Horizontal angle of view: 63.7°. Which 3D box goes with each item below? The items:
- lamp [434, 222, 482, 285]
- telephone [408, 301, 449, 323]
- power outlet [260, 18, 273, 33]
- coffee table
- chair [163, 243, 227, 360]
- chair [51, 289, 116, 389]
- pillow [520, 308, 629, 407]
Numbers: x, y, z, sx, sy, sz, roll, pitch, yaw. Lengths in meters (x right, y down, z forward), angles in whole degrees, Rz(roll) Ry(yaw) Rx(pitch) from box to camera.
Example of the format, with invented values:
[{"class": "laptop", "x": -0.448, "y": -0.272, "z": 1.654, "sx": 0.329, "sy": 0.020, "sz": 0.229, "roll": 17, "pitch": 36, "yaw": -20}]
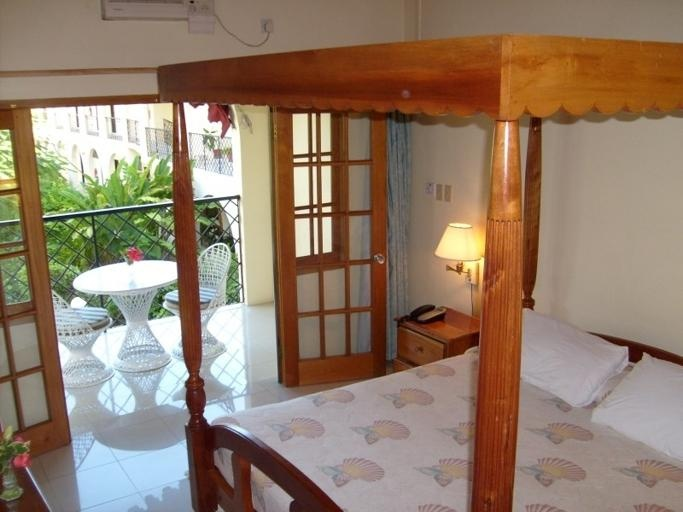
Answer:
[{"class": "lamp", "x": 0.944, "y": 0.012, "z": 4.462, "sx": 0.342, "sy": 0.538, "sz": 0.362, "roll": 1, "pitch": 20, "yaw": 7}, {"class": "telephone", "x": 0.736, "y": 0.486, "z": 4.624, "sx": 0.230, "sy": 0.082, "sz": 0.172, "roll": 0, "pitch": 6, "yaw": -30}, {"class": "power outlet", "x": -0.564, "y": -1.722, "z": 4.118, "sx": 0.094, "sy": 0.092, "sz": 0.023, "roll": -1, "pitch": 8, "yaw": -24}, {"class": "coffee table", "x": -1.972, "y": 0.590, "z": 5.288, "sx": 0.899, "sy": 0.792, "sz": 0.992, "roll": -2, "pitch": 11, "yaw": 5}, {"class": "chair", "x": -1.478, "y": 0.433, "z": 5.542, "sx": 0.702, "sy": 1.130, "sz": 0.726, "roll": 1, "pitch": 3, "yaw": -42}, {"class": "chair", "x": -2.284, "y": 0.680, "z": 4.877, "sx": 0.457, "sy": 0.916, "sz": 0.554, "roll": -11, "pitch": 15, "yaw": -28}, {"class": "pillow", "x": 1.371, "y": 0.639, "z": 3.370, "sx": 0.503, "sy": 0.144, "sz": 0.516, "roll": 23, "pitch": 47, "yaw": 33}]
